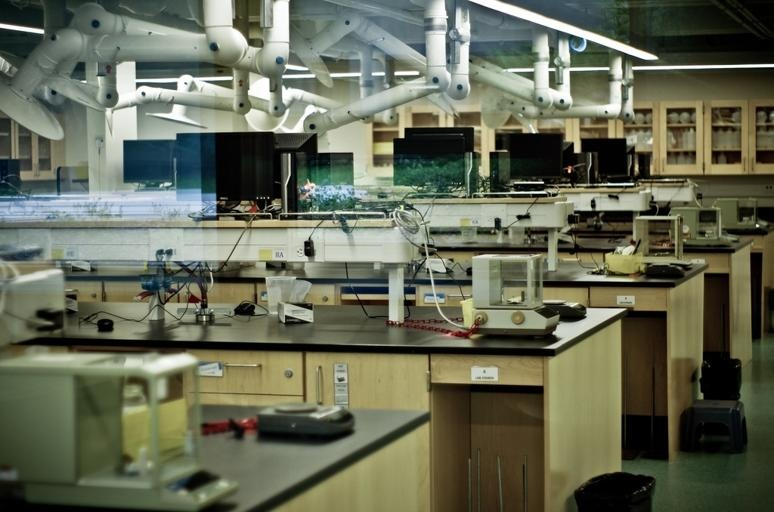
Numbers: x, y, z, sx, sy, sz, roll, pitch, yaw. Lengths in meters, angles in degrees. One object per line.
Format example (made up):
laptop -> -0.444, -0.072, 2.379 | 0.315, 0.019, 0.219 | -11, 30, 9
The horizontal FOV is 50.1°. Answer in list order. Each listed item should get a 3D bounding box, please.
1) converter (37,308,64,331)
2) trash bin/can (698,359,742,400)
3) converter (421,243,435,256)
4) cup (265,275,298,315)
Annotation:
converter -> -1.223, 0.227, 2.991 | 0.073, 0.081, 0.130 | 2, 0, 7
trash bin/can -> 2.342, 0.849, 5.809 | 0.289, 0.272, 0.298 | 0, 2, 17
converter -> 0.249, -0.037, 5.035 | 0.075, 0.053, 0.089 | -1, 6, 0
cup -> -0.611, 0.236, 4.742 | 0.219, 0.226, 0.199 | 1, -2, -1
